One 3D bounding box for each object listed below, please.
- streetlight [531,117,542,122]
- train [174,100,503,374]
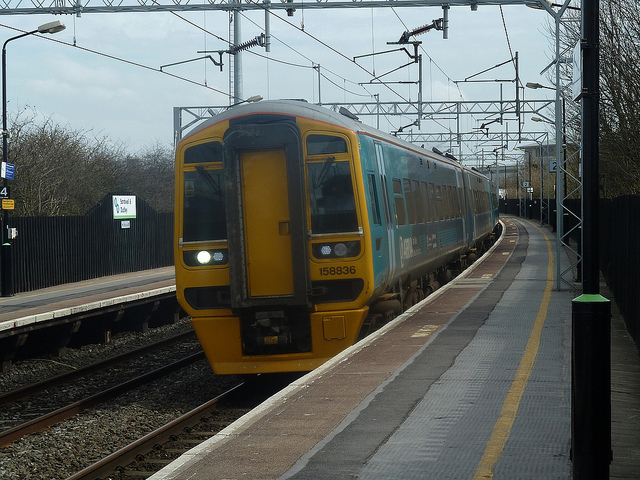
[{"bbox_3d":[11.874,-6.662,36.843,0.472,0.304,1.526,-1,3,20],"label":"streetlight"},{"bbox_3d":[2.465,-0.449,18.197,3.074,4.717,16.962,-4,1,24],"label":"train"}]
